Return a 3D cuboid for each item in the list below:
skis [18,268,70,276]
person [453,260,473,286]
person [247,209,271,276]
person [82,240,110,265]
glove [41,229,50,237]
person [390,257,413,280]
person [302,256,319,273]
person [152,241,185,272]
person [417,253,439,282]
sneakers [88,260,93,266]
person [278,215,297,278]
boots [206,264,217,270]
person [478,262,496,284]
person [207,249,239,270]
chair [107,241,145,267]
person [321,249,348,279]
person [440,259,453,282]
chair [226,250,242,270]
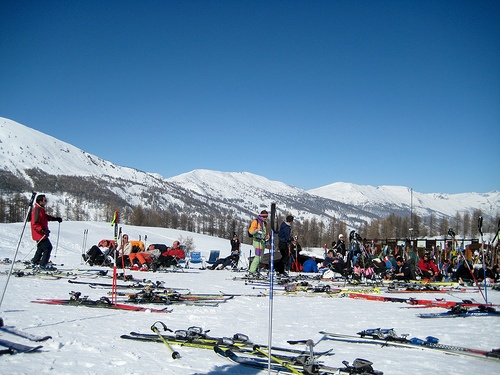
[{"bbox_3d":[-6.496,2.598,14.052,1.074,0.085,0.275,10,0,10],"label":"skis"},{"bbox_3d":[7.781,3.063,16.380,0.546,0.860,1.205,-1,-13,17],"label":"person"},{"bbox_3d":[0.296,1.960,16.591,0.685,2.334,1.180,2,-11,2],"label":"person"},{"bbox_3d":[-6.736,2.778,20.084,0.750,1.330,1.176,-18,-29,41],"label":"person"},{"bbox_3d":[-6.621,1.440,14.654,0.202,0.242,0.726,5,-13,-15],"label":"glove"},{"bbox_3d":[5.536,2.991,16.700,0.743,0.919,0.661,-7,-8,-40],"label":"person"},{"bbox_3d":[2.963,3.815,22.153,0.495,0.761,0.904,7,-11,-20],"label":"person"},{"bbox_3d":[-3.818,3.078,20.852,0.892,1.162,1.853,1,4,31],"label":"person"},{"bbox_3d":[7.494,3.274,19.008,0.635,1.096,1.195,0,-12,12],"label":"person"},{"bbox_3d":[-6.982,3.286,19.808,0.241,0.233,0.475,11,-15,-36],"label":"sneakers"},{"bbox_3d":[1.583,2.290,18.293,0.707,2.356,0.664,-3,3,-17],"label":"person"},{"bbox_3d":[-1.887,3.916,22.426,0.450,0.273,0.867,4,-12,-6],"label":"boots"},{"bbox_3d":[8.680,3.140,16.576,0.596,0.636,1.553,-6,-15,33],"label":"person"},{"bbox_3d":[-1.247,3.599,22.628,1.196,0.745,0.810,-10,-18,-8],"label":"person"},{"bbox_3d":[-5.435,2.888,19.939,0.937,1.447,1.322,-5,-16,21],"label":"chair"},{"bbox_3d":[3.563,3.085,18.889,0.757,1.159,2.505,0,-12,10],"label":"person"},{"bbox_3d":[7.928,3.334,18.179,0.351,0.899,1.951,-3,-13,24],"label":"person"},{"bbox_3d":[-0.791,3.585,22.572,0.509,0.941,0.349,3,-8,8],"label":"chair"}]
